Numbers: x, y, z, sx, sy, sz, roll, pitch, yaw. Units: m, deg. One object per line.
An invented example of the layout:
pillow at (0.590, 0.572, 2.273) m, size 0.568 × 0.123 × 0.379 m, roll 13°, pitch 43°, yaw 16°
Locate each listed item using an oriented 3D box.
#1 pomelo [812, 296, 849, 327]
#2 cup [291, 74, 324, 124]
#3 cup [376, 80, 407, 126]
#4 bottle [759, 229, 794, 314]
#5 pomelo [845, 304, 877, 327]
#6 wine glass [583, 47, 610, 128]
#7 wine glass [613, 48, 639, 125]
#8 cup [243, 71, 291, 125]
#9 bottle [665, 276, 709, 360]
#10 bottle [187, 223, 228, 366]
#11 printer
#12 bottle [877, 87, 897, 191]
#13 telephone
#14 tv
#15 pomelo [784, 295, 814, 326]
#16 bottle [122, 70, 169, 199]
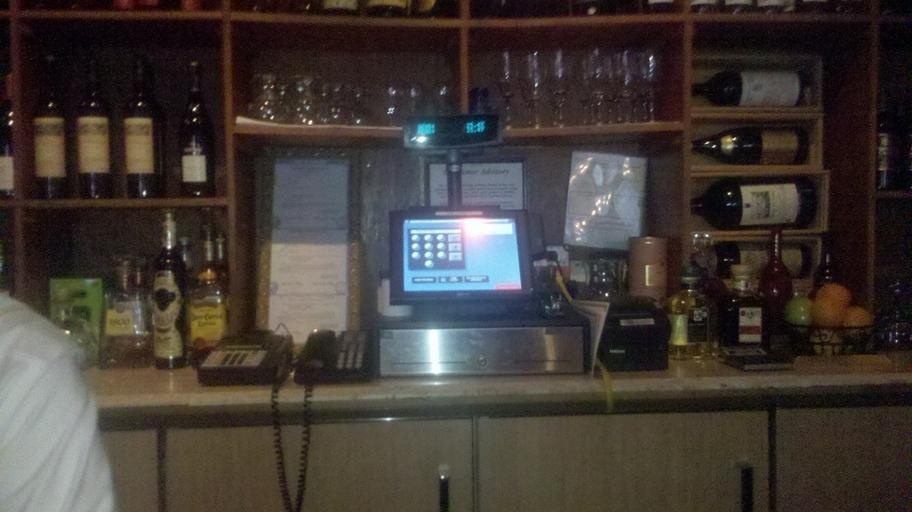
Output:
pomelo at (1.600, 0.246, 3.966) m, size 0.158 × 0.125 × 0.128 m, roll -13°, pitch -18°, yaw 22°
cup at (-0.660, -0.679, 4.052) m, size 0.103 × 0.208 × 0.087 m, roll 1°, pitch 4°, yaw 34°
cup at (-0.292, -0.697, 4.177) m, size 0.113 × 0.214 × 0.191 m, roll -1°, pitch 3°, yaw -5°
bottle at (1.429, 0.065, 4.121) m, size 0.132 × 0.385 × 0.154 m, roll 1°, pitch 3°, yaw 22°
pomelo at (1.746, 0.272, 3.989) m, size 0.107 × 0.116 × 0.101 m, roll 1°, pitch -25°, yaw 13°
wine glass at (0.634, -0.780, 4.190) m, size 0.110 × 0.362 × 0.217 m, roll 0°, pitch 3°, yaw 9°
wine glass at (0.757, -0.754, 4.124) m, size 0.099 × 0.302 × 0.076 m, roll 0°, pitch 3°, yaw 9°
cup at (-0.856, -0.699, 4.084) m, size 0.229 × 0.220 × 0.114 m, roll 3°, pitch 4°, yaw 45°
bottle at (1.004, 0.296, 3.953) m, size 0.179 × 0.284 × 0.079 m, roll 0°, pitch 3°, yaw 7°
bottle at (-1.065, 0.163, 3.955) m, size 0.160 × 0.583 × 0.094 m, roll -1°, pitch 3°, yaw -12°
printer at (0.731, 0.327, 3.704) m, size 0.304 × 0.179 × 0.297 m, roll 0°, pitch 8°, yaw 5°
bottle at (1.963, -0.526, 4.202) m, size 0.087 × 0.445 × 0.275 m, roll 1°, pitch 3°, yaw 25°
telephone at (-0.503, 0.409, 3.818) m, size 0.328 × 0.197 × 0.292 m, roll -1°, pitch 3°, yaw -10°
tv at (0.014, -0.009, 3.872) m, size 0.755 × 0.445 × 0.379 m, roll 0°, pitch -5°, yaw 0°
pomelo at (1.492, 0.244, 4.014) m, size 0.125 × 0.129 × 0.118 m, roll 0°, pitch -2°, yaw -2°
bottle at (-1.361, -0.549, 4.050) m, size 0.134 × 0.575 × 0.205 m, roll 0°, pitch 3°, yaw 4°
